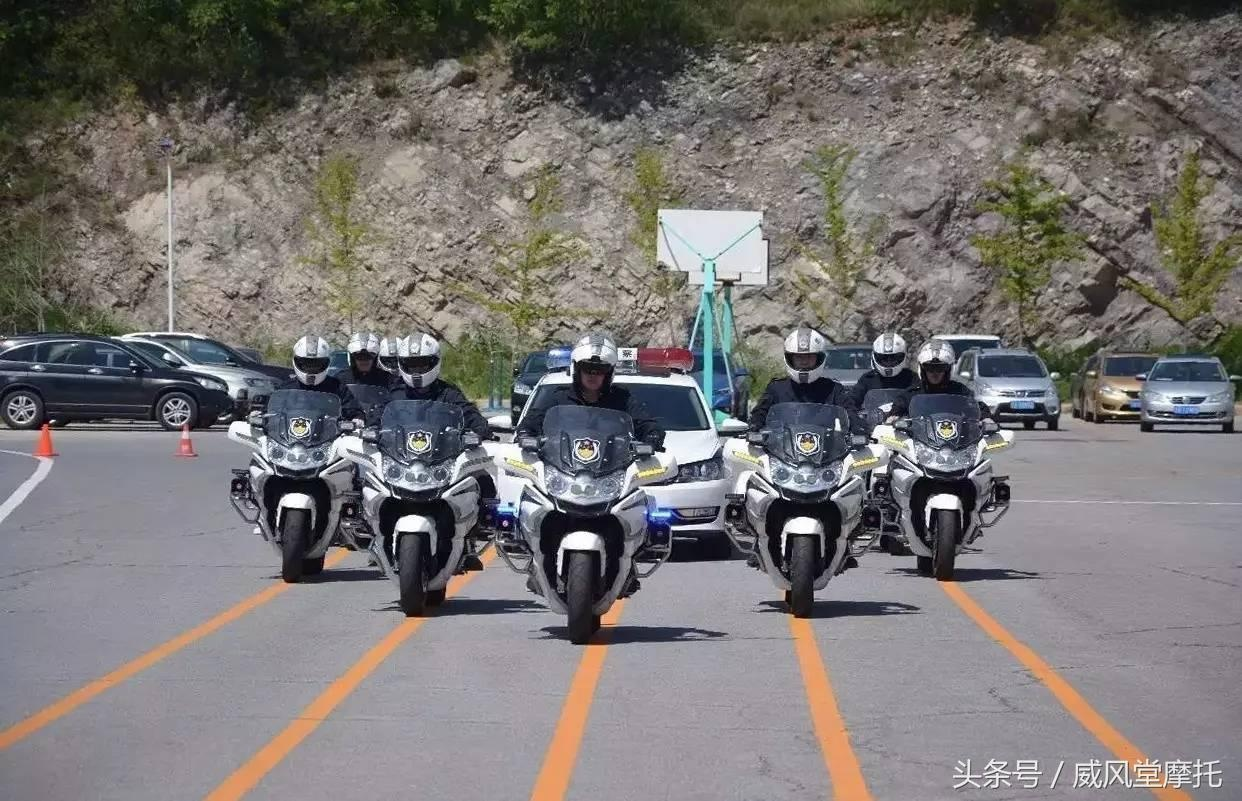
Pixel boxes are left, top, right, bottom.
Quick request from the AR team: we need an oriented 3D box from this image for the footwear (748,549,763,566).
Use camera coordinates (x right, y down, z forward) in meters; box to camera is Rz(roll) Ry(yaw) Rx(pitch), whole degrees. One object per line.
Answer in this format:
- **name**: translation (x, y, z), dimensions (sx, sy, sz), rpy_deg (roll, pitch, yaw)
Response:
- **footwear**: translation (1.166, 1.401, 11.776), dimensions (0.075, 0.095, 0.168), rpy_deg (0, -15, 2)

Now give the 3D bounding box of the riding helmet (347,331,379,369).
- **riding helmet**: translation (-2.976, -0.594, 15.440), dimensions (0.386, 0.507, 0.516), rpy_deg (0, -1, -3)

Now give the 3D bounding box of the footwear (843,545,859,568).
- **footwear**: translation (2.023, 1.392, 11.811), dimensions (0.123, 0.176, 0.311), rpy_deg (-3, -21, 5)

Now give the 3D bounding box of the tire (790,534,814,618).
- **tire**: translation (1.552, 1.500, 11.403), dimensions (0.259, 0.809, 0.179), rpy_deg (0, 20, 8)

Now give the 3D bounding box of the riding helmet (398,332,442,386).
- **riding helmet**: translation (-1.882, -0.387, 12.520), dimensions (0.375, 0.453, 0.508), rpy_deg (-2, 1, 0)

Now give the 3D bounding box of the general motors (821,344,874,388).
- **general motors**: translation (4.776, -0.754, 28.152), dimensions (1.239, 1.133, 2.359), rpy_deg (0, -2, 3)

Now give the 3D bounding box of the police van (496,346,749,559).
- **police van**: translation (0.309, 0.551, 15.682), dimensions (1.743, 1.544, 3.128), rpy_deg (0, 0, 4)

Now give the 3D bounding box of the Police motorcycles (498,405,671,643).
- **Police motorcycles**: translation (-0.306, 0.976, 11.397), dimensions (1.333, 1.742, 3.202), rpy_deg (2, 2, -1)

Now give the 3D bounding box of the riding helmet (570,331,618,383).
- **riding helmet**: translation (-0.216, -0.368, 10.853), dimensions (0.296, 0.357, 0.396), rpy_deg (6, 21, -4)

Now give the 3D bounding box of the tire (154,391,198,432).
- **tire**: translation (-10.429, 0.188, 31.193), dimensions (0.640, 0.645, 0.231), rpy_deg (40, 2, -11)

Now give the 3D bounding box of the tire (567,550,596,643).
- **tire**: translation (-0.313, 1.519, 10.436), dimensions (0.267, 0.807, 0.241), rpy_deg (-11, 21, -21)

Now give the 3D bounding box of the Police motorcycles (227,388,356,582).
- **Police motorcycles**: translation (-3.222, 0.739, 13.485), dimensions (0.904, 1.263, 2.209), rpy_deg (2, -2, 0)

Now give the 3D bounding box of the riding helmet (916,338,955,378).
- **riding helmet**: translation (3.294, -0.440, 14.022), dimensions (0.330, 0.463, 0.496), rpy_deg (1, 20, 12)

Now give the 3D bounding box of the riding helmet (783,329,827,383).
- **riding helmet**: translation (1.757, -0.466, 12.780), dimensions (0.358, 0.531, 0.453), rpy_deg (2, 20, 13)

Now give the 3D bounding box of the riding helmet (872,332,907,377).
- **riding helmet**: translation (3.024, -0.547, 15.107), dimensions (0.380, 0.463, 0.521), rpy_deg (-1, 8, 8)

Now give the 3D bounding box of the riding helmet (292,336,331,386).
- **riding helmet**: translation (-3.198, -0.436, 13.752), dimensions (0.368, 0.473, 0.513), rpy_deg (0, 6, -4)

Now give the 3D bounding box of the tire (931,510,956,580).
- **tire**: translation (3.171, 1.416, 13.123), dimensions (0.259, 0.778, 0.269), rpy_deg (2, 20, 14)

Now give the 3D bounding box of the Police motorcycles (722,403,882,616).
- **Police motorcycles**: translation (1.687, 0.804, 12.551), dimensions (1.337, 1.755, 3.262), rpy_deg (2, 5, 5)
